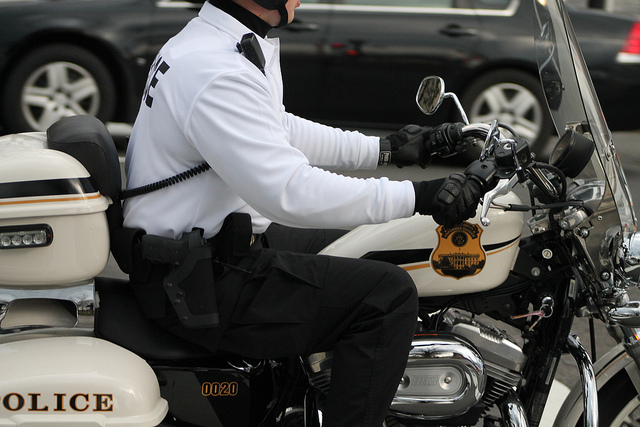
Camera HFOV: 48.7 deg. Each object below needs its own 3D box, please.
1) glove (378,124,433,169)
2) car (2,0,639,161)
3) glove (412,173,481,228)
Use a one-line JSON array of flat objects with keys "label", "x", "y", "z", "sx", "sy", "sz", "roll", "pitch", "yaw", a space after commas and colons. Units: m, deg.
[{"label": "glove", "x": 0.418, "y": -0.331, "z": 3.442, "sx": 0.238, "sy": 0.100, "sz": 0.186, "roll": -9, "pitch": 41, "yaw": 5}, {"label": "car", "x": -0.063, "y": -1.046, "z": 5.086, "sx": 3.497, "sy": 1.223, "sz": 1.448, "roll": 3, "pitch": -9, "yaw": -4}, {"label": "glove", "x": 0.502, "y": -0.069, "z": 2.791, "sx": 0.237, "sy": 0.124, "sz": 0.196, "roll": 15, "pitch": 55, "yaw": 23}]
